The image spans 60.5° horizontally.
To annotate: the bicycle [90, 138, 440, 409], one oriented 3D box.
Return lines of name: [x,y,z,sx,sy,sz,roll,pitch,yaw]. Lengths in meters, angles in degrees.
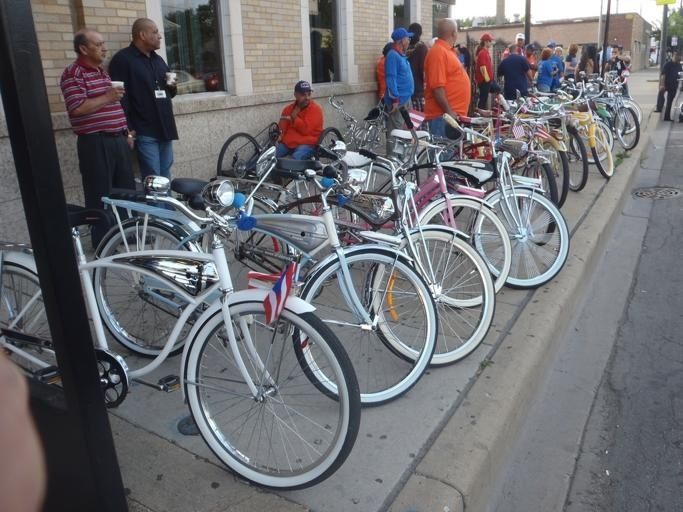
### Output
bicycle: [-0.581,0.048,3.776,2.432,1.683,1.101,8,16,11]

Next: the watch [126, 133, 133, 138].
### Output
watch: [-2.373,-1.336,6.535,0.054,0.021,0.081,1,33,-19]

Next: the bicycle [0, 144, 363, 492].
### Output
bicycle: [-0.803,0.409,3.045,1.860,1.502,1.316,8,22,26]

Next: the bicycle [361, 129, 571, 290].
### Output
bicycle: [1.072,-0.490,5.364,2.028,1.400,1.215,11,26,37]

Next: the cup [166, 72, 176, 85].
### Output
cup: [-1.947,-2.019,6.685,0.117,0.129,0.173,-8,21,-16]

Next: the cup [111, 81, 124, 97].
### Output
cup: [-2.186,-1.624,5.713,0.100,0.129,0.218,-10,22,-22]

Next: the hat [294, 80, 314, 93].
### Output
hat: [-0.547,-2.342,8.321,0.196,0.173,0.277,-18,30,-21]
